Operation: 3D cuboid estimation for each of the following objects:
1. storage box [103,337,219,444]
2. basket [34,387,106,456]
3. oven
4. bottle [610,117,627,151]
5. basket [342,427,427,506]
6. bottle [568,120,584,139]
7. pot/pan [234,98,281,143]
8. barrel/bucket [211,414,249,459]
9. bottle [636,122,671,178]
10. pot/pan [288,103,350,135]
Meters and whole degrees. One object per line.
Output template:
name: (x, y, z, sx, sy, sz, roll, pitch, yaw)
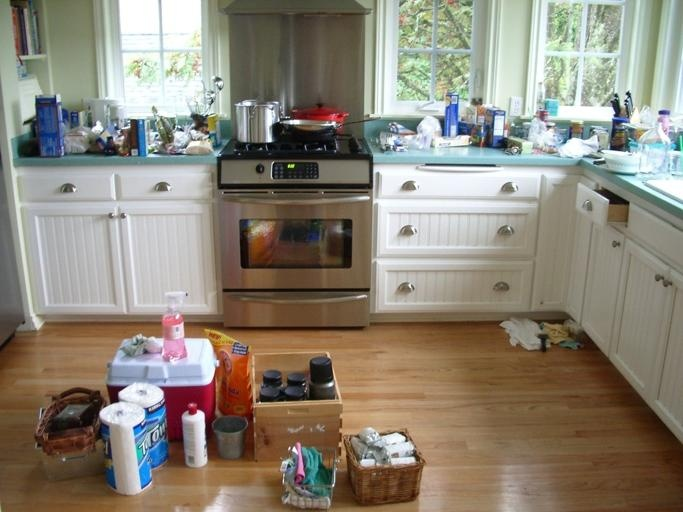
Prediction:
storage box: (-0.788, 0.526, 2.547, 0.629, 0.373, 0.407, 1, 20, -2)
basket: (-1.119, 0.682, 2.257, 0.246, 0.181, 0.259, -7, 18, -15)
oven: (-0.262, -0.017, 3.619, 1.157, 0.992, 0.755, 0, 17, 0)
bottle: (1.655, -0.729, 3.232, 0.089, 0.184, 0.162, 7, 20, 24)
basket: (0.171, 0.850, 2.189, 0.304, 0.195, 0.221, -2, 18, -3)
bottle: (1.503, -0.804, 3.471, 0.072, 0.102, 0.086, 2, 19, 12)
pot/pan: (-0.506, -0.835, 3.333, 0.292, 0.225, 0.268, -1, 17, -2)
barrel/bucket: (-0.480, 0.773, 2.412, 0.170, 0.140, 0.172, 3, 11, -1)
bottle: (1.626, -0.554, 2.818, 0.154, 0.251, 0.278, 8, 20, 26)
pot/pan: (-0.148, -0.868, 3.443, 0.392, 0.199, 0.440, -1, 17, 0)
